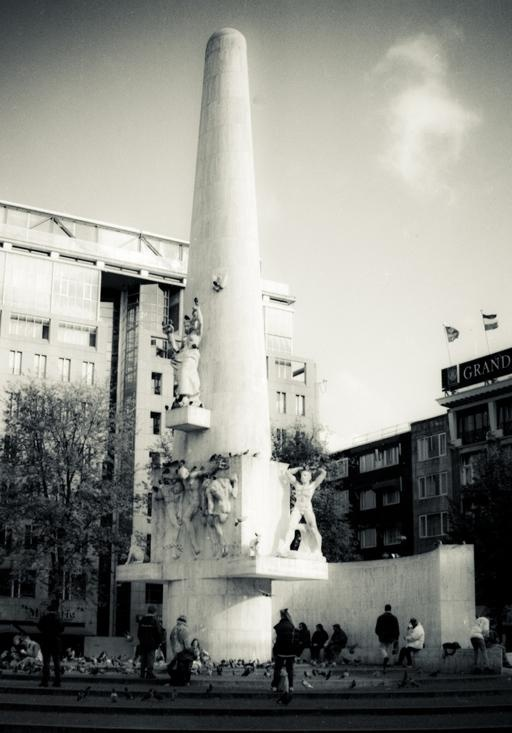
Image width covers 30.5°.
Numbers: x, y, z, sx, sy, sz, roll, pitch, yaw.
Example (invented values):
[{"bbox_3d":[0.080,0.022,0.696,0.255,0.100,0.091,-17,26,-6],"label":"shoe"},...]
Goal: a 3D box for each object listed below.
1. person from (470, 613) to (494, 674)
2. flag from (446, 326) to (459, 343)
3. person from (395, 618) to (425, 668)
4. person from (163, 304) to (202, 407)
[{"bbox_3d":[4.864,6.021,20.407,0.377,1.161,1.349,-3,-11,15],"label":"person"},{"bbox_3d":[11.828,-1.883,56.812,0.572,1.045,1.625,-1,-11,7],"label":"flag"},{"bbox_3d":[3.572,6.358,21.475,0.487,1.065,0.507,8,-22,4],"label":"person"},{"bbox_3d":[-1.965,-0.233,25.409,0.999,2.891,1.290,-3,-11,15],"label":"person"}]
